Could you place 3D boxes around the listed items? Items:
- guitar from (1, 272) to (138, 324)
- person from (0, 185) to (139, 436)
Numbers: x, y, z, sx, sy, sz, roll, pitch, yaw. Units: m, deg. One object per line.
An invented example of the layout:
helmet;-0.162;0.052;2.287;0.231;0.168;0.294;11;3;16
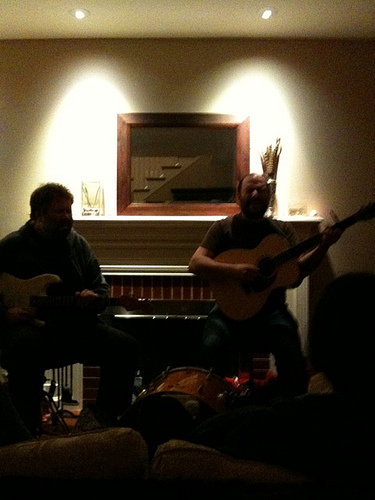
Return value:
guitar;-0.419;0.165;1.802;0.473;0.172;0.094;-1;4;-11
person;-0.431;0.191;1.837;0.491;0.857;0.317;-1;4;-10
